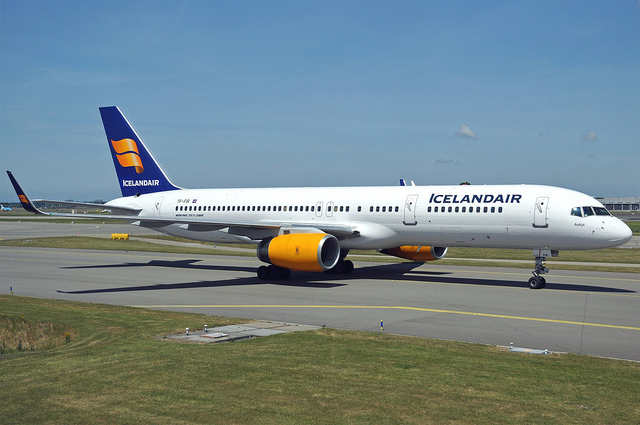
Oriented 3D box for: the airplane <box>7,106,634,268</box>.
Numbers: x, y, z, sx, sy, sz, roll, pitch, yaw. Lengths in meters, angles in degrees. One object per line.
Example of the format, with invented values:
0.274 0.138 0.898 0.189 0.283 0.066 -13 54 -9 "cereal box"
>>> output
1.133 0.262 39.513 28.691 5.240 20.496 1 4 24 "airplane"
